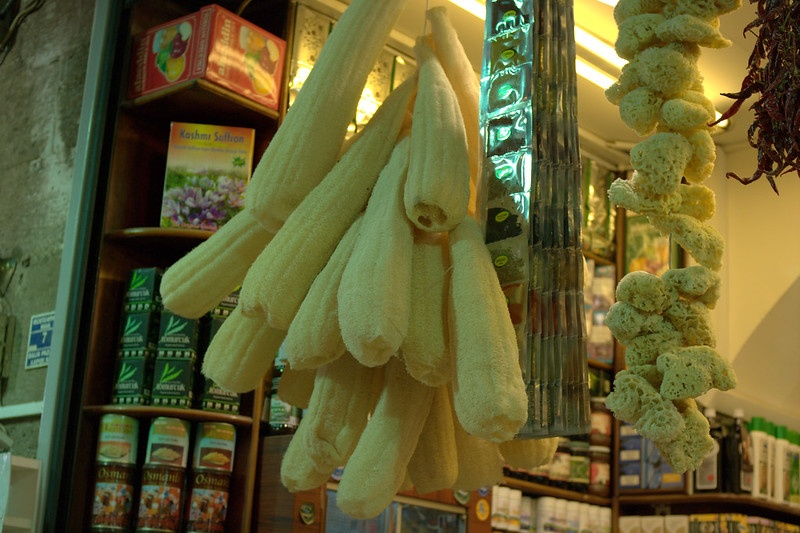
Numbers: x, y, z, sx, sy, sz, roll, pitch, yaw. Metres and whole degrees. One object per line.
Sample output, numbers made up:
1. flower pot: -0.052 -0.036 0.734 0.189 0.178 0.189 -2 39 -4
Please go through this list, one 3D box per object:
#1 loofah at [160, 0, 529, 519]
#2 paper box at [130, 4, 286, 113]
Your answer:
1. loofah: -0.070 -0.019 1.480 0.668 0.943 0.375 0 -19 18
2. paper box: -0.714 -0.736 2.866 0.413 0.255 0.431 -11 -24 35
